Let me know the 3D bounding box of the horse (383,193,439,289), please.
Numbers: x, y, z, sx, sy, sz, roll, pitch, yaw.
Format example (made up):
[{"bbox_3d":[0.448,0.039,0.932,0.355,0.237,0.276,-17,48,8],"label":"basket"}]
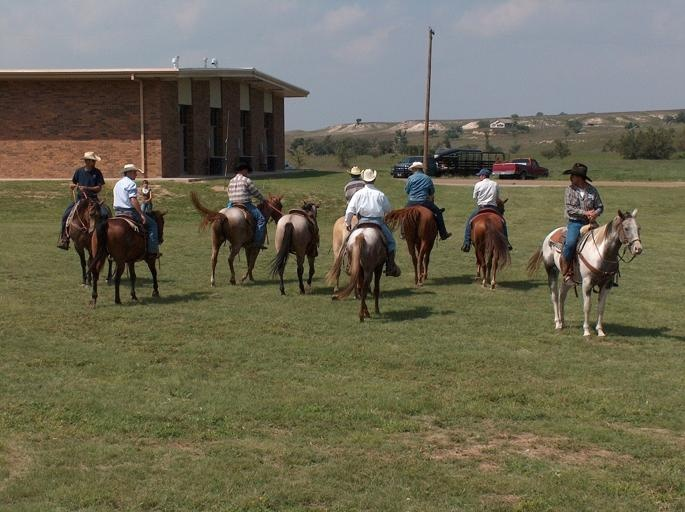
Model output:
[{"bbox_3d":[1.896,-0.396,24.450,0.851,2.375,4.318,-2,-2,14],"label":"horse"}]

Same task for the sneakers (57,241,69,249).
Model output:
[{"bbox_3d":[-6.573,-0.229,23.106,0.325,0.158,0.203,3,4,40],"label":"sneakers"}]

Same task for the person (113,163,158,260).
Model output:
[{"bbox_3d":[-4.440,-0.925,21.108,0.855,1.917,1.114,1,-5,39],"label":"person"}]

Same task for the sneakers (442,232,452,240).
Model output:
[{"bbox_3d":[2.722,-0.512,25.961,0.227,0.079,0.158,-38,-18,-13],"label":"sneakers"}]

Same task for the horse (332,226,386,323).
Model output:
[{"bbox_3d":[0.332,0.336,20.000,0.975,1.949,1.414,2,11,9],"label":"horse"}]

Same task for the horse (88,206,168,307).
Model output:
[{"bbox_3d":[-4.585,0.023,21.129,0.818,2.051,3.081,1,2,16],"label":"horse"}]

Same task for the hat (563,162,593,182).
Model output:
[{"bbox_3d":[4.535,-1.628,19.044,0.392,0.308,0.534,2,11,8],"label":"hat"}]

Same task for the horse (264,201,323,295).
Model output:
[{"bbox_3d":[-1.057,-0.154,23.084,0.800,2.119,3.308,1,3,10],"label":"horse"}]

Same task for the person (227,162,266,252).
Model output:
[{"bbox_3d":[-2.251,-1.145,23.028,0.854,2.089,0.910,0,11,-5],"label":"person"}]

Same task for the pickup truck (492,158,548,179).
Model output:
[{"bbox_3d":[10.917,-5.248,60.056,3.274,1.109,1.545,-7,11,-39],"label":"pickup truck"}]

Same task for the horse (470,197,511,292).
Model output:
[{"bbox_3d":[3.513,-0.123,23.530,0.781,1.713,1.314,0,11,-5],"label":"horse"}]
